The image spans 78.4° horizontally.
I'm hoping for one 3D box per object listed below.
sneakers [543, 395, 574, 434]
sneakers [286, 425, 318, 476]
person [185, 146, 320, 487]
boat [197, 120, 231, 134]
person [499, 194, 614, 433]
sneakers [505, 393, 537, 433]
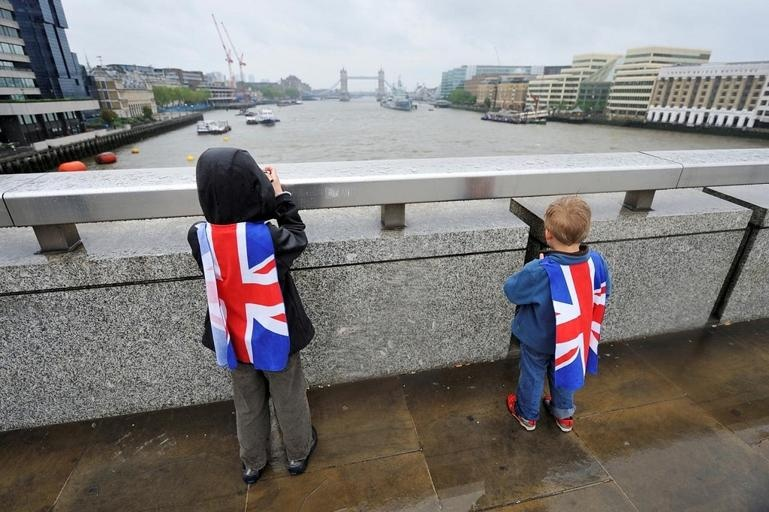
[{"bbox_3d":[1.329,1.217,3.670,0.121,0.125,0.315,-6,36,-9],"label":"sneakers"},{"bbox_3d":[-0.573,1.387,3.390,0.117,0.321,0.139,12,-13,15],"label":"sneakers"},{"bbox_3d":[-0.887,0.457,3.339,0.858,2.248,0.796,-5,19,-7],"label":"person"},{"bbox_3d":[-22.009,-16.466,60.526,2.932,1.579,4.370,3,26,2],"label":"boat"},{"bbox_3d":[1.266,0.447,3.434,0.681,1.677,0.680,-21,35,-36],"label":"person"},{"bbox_3d":[1.013,1.210,3.641,0.123,0.141,0.319,-21,42,-12],"label":"sneakers"}]
